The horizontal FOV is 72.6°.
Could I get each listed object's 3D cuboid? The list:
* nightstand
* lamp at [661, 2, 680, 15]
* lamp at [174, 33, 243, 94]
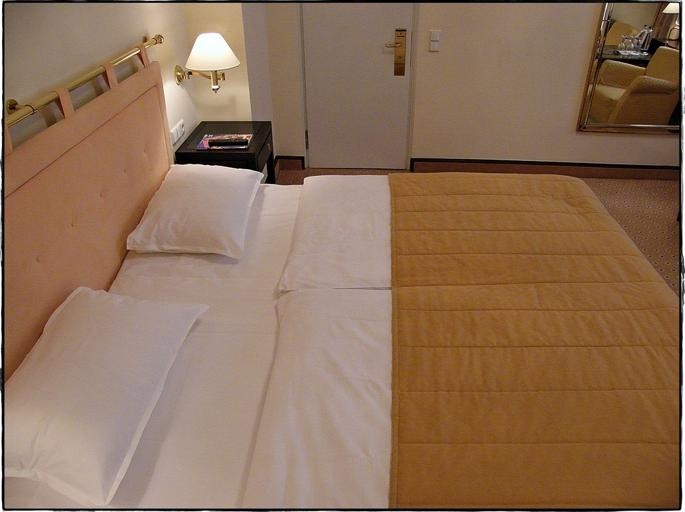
[{"bbox_3d":[-0.736,-0.742,3.027,0.370,0.418,0.575,1,43,0],"label":"nightstand"},{"bbox_3d":[2.409,-1.791,3.399,0.088,0.069,0.136,-1,36,-3],"label":"lamp"},{"bbox_3d":[-0.811,-1.198,2.958,0.395,0.382,0.347,3,36,0],"label":"lamp"}]
